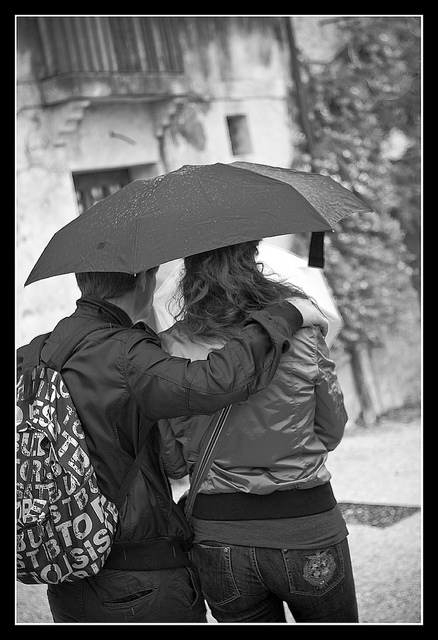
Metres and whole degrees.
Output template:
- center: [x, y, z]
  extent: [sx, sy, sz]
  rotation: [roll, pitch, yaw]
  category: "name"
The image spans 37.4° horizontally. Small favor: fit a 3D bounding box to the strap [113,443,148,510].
- center: [-0.278, 0.485, 2.003]
  extent: [0.026, 0.241, 0.027]
  rotation: [30, -10, -23]
  category: "strap"
